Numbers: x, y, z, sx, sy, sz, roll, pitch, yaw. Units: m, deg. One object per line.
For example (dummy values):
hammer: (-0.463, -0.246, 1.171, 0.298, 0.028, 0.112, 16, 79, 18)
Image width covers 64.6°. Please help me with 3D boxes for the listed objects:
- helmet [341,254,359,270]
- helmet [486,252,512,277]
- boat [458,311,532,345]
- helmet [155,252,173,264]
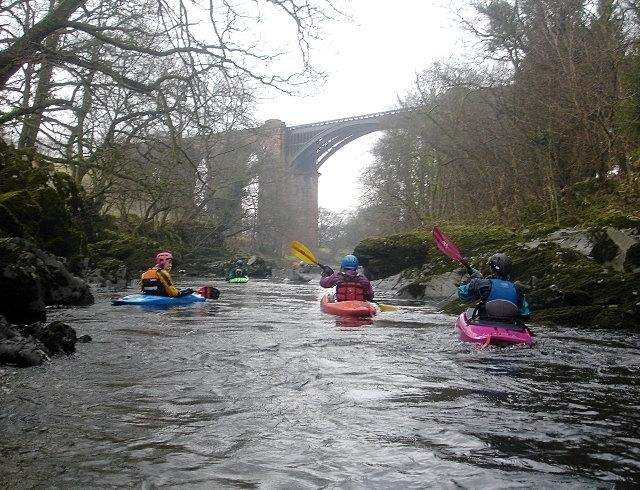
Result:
helmet: (0.694, 0.395, 11.236, 0.363, 0.297, 0.384, 5, 13, 4)
helmet: (2.632, 0.290, 7.525, 0.394, 0.342, 0.387, 13, 12, 10)
boat: (2.324, 1.178, 7.092, 0.716, 0.408, 1.093, 1, -1, -44)
helmet: (-3.931, 0.331, 12.698, 0.352, 0.239, 0.420, 0, -1, -10)
